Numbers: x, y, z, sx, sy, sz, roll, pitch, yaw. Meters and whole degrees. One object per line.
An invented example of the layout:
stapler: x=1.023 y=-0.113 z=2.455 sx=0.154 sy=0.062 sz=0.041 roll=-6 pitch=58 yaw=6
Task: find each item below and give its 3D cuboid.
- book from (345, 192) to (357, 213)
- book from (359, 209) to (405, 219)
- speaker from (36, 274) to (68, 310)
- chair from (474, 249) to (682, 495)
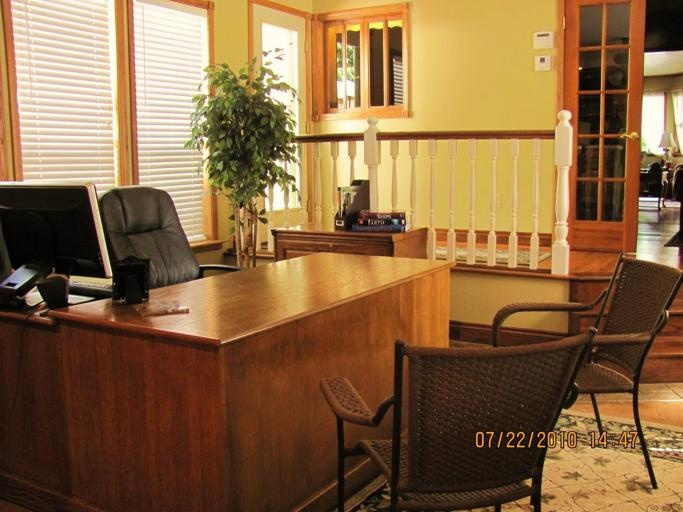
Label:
book: x=0.077 y=-0.392 z=4.090 sx=0.051 sy=0.155 sz=0.066 roll=4 pitch=-12 yaw=18
book: x=0.295 y=-0.297 z=3.967 sx=0.316 sy=0.043 sz=0.073 roll=2 pitch=11 yaw=-1
speaker: x=-1.183 y=0.150 z=2.272 sx=0.074 sy=0.141 sz=0.100 roll=-4 pitch=16 yaw=-3
chair: x=1.402 y=0.466 z=3.124 sx=1.092 sy=1.565 sz=0.937 roll=-1 pitch=5 yaw=-8
